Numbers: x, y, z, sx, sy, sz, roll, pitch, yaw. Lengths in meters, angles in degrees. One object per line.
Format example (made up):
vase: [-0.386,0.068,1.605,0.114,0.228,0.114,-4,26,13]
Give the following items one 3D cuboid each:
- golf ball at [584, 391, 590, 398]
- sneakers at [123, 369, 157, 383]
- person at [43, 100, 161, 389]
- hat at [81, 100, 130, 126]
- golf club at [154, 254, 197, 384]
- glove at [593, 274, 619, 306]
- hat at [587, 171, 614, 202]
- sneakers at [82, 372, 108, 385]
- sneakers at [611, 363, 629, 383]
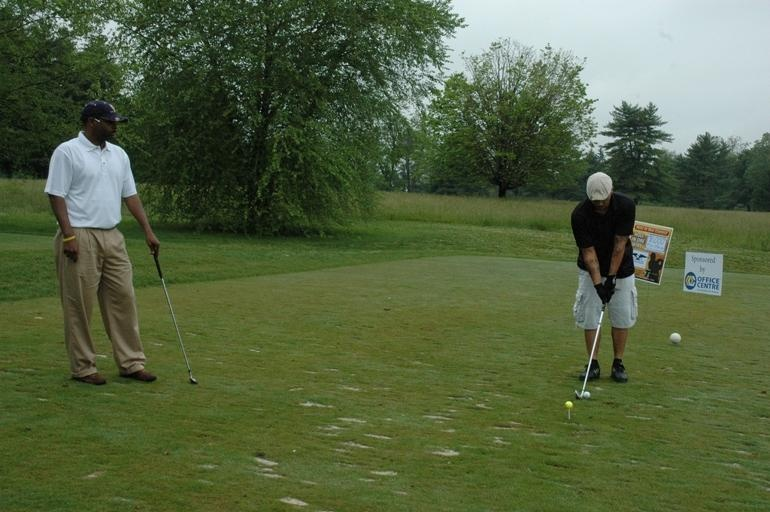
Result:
golf ball: [2.278,1.574,8.359,0.072,0.038,0.072,1,2,0]
sneakers: [-2.769,1.363,8.390,0.406,0.146,0.140,0,4,8]
person: [-3.207,-0.174,8.306,1.098,3.033,1.215,-2,16,-21]
hat: [-3.184,-1.612,8.408,0.513,0.222,0.299,-2,6,-13]
golf club: [-3.084,0.934,10.775,0.138,1.539,0.246,-24,-24,14]
glove: [2.699,0.411,9.014,0.286,0.336,0.135,-18,18,-23]
hat: [2.573,-0.846,8.888,0.300,0.381,0.220,5,-41,18]
sneakers: [-3.220,1.350,8.156,0.258,0.097,0.116,-1,3,6]
sneakers: [2.871,1.413,9.026,0.204,0.214,0.235,7,15,15]
